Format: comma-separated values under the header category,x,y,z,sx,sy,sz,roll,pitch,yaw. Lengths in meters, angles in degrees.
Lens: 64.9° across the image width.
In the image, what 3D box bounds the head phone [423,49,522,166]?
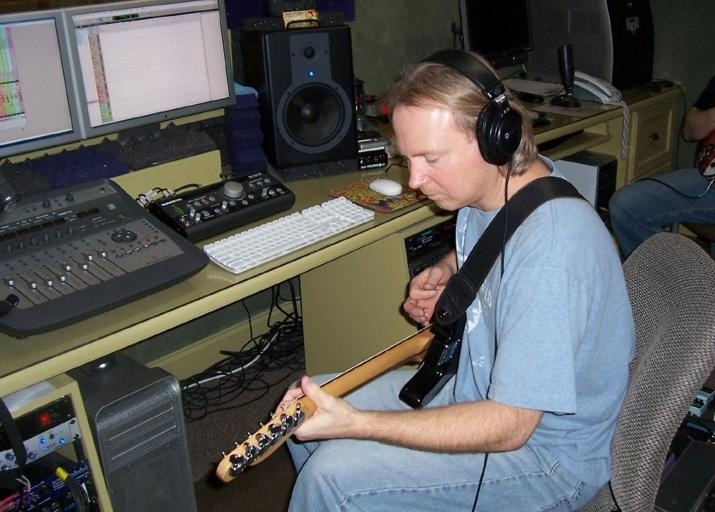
category,x,y,z,sx,sy,sz,roll,pitch,yaw
head phone,0.257,-0.329,1.301,0.110,0.248,0.279,-27,14,-15
